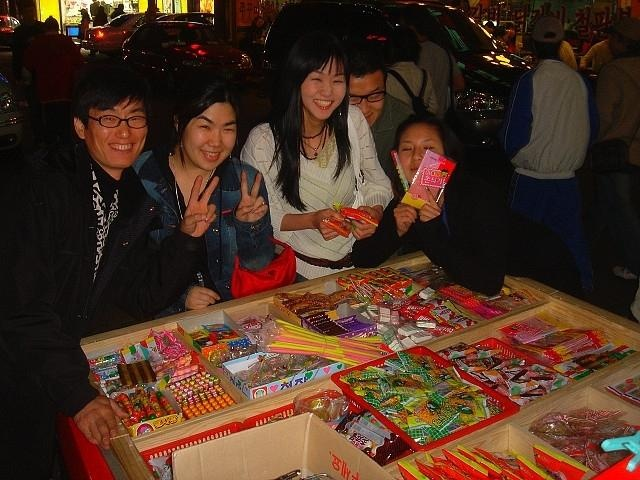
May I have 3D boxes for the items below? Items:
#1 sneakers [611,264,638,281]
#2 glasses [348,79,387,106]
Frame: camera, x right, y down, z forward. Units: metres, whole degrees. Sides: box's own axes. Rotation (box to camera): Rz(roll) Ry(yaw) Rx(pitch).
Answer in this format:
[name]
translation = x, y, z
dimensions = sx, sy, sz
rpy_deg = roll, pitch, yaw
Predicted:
[sneakers]
translation = 3.630, 0.389, 5.269
dimensions = 0.139, 0.059, 0.178
rpy_deg = -30, 37, -21
[glasses]
translation = 0.387, -1.144, 3.526
dimensions = 0.299, 0.119, 0.083
rpy_deg = -12, 24, -18
